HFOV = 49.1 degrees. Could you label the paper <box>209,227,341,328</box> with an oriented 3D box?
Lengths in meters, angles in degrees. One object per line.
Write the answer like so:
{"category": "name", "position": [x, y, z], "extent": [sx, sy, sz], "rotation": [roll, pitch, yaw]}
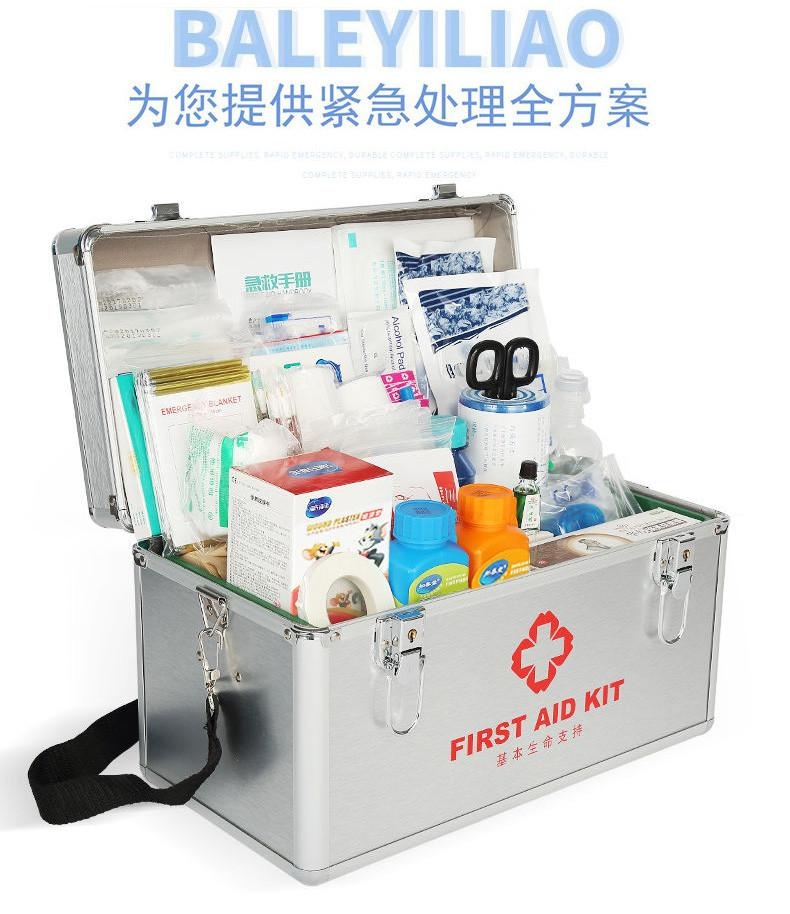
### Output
{"category": "paper", "position": [-0.184, -0.284, 1.421], "extent": [0.255, 0.154, 0.056], "rotation": [-4, 6, -32]}

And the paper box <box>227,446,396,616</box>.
{"category": "paper box", "position": [-0.097, 0.087, 1.010], "extent": [0.144, 0.142, 0.169], "rotation": [12, 16, 32]}

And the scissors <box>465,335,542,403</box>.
{"category": "scissors", "position": [0.180, -0.129, 1.404], "extent": [0.129, 0.112, 0.016], "rotation": [-1, -7, 34]}

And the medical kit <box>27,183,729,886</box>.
{"category": "medical kit", "position": [-0.015, 0.055, 1.247], "extent": [0.957, 0.707, 0.570], "rotation": [-11, 27, -39]}

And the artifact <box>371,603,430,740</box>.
{"category": "artifact", "position": [0.011, 0.251, 0.989], "extent": [0.029, 0.167, 0.072], "rotation": [8, 20, 43]}
